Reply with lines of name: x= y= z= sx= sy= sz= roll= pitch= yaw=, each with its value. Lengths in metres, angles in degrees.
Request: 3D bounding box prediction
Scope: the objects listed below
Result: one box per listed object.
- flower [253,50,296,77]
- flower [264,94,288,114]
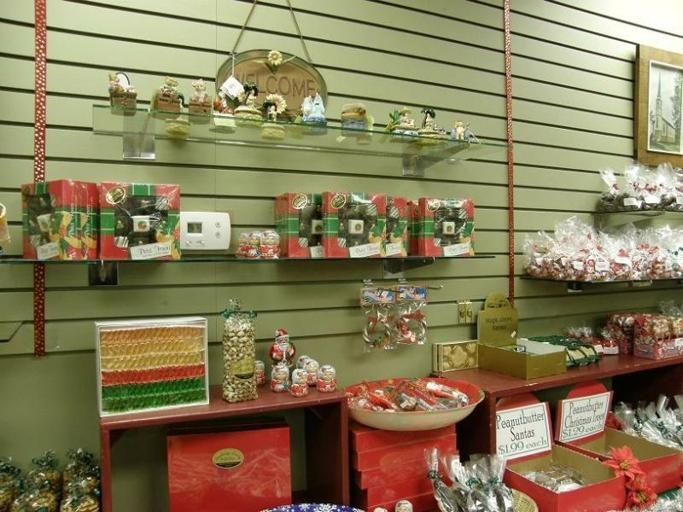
flower: x=-0.325 y=-0.973 z=2.673 sx=0.134 sy=0.133 sz=0.046 roll=19 pitch=24 yaw=-13
flower: x=-0.307 y=-0.720 z=2.529 sx=0.076 sy=0.100 sz=0.091 roll=-1 pitch=4 yaw=17
